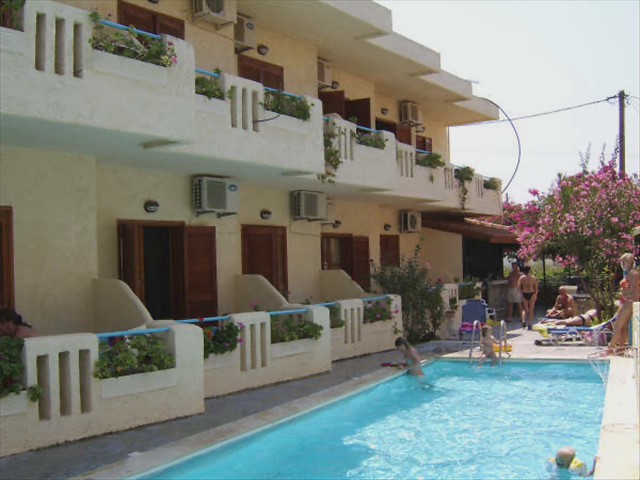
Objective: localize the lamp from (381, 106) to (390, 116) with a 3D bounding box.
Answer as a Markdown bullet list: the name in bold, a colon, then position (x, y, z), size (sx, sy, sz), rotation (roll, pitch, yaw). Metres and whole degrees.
- **lamp**: position (2.199, -4.342, 23.453), size (0.103, 0.317, 0.542), rotation (10, 11, 39)

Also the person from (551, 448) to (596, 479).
- **person**: position (4.085, 3.551, 11.125), size (0.673, 0.405, 0.436), rotation (1, -5, 29)

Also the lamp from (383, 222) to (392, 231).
- **lamp**: position (2.278, -0.430, 23.382), size (0.060, 0.289, 0.267), rotation (4, -1, 43)

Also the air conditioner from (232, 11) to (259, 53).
- **air conditioner**: position (-1.819, -5.135, 17.331), size (0.681, 0.729, 0.475), rotation (11, 8, 19)

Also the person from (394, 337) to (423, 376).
- **person**: position (2.023, 2.667, 15.663), size (0.472, 1.056, 0.469), rotation (-20, 16, -1)

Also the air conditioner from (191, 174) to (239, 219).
- **air conditioner**: position (-2.496, -1.008, 16.744), size (0.618, 1.010, 1.127), rotation (-9, -9, 38)

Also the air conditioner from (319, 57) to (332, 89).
- **air conditioner**: position (0.146, -4.834, 20.195), size (0.326, 0.857, 1.078), rotation (6, 9, 17)

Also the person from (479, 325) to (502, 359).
- **person**: position (4.037, 2.434, 16.542), size (0.486, 0.813, 0.915), rotation (5, 9, 14)

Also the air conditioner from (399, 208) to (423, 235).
- **air conditioner**: position (3.229, -0.526, 24.215), size (0.592, 1.048, 1.119), rotation (-2, -4, 34)

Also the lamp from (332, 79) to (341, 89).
- **lamp**: position (0.477, -4.639, 20.750), size (0.233, 0.280, 0.214), rotation (6, -3, -8)

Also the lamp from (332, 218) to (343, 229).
- **lamp**: position (0.509, -0.464, 21.220), size (0.154, 0.302, 0.625), rotation (7, 10, 24)

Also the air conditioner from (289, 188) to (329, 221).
- **air conditioner**: position (-0.300, -0.930, 19.321), size (0.389, 0.862, 1.142), rotation (-5, -5, 43)

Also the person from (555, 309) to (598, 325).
- **person**: position (7.245, 2.175, 19.070), size (0.865, 0.268, 0.517), rotation (-10, 10, -11)

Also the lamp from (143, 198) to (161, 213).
- **lamp**: position (-3.824, -0.747, 15.899), size (0.410, 0.333, 0.173), rotation (-4, 12, -40)

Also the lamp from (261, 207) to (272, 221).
- **lamp**: position (-1.446, -0.669, 18.505), size (0.267, 0.301, 0.066), rotation (1, 12, -20)

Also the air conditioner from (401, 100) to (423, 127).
- **air conditioner**: position (3.147, -4.387, 24.010), size (0.509, 0.829, 0.912), rotation (-6, -7, 35)

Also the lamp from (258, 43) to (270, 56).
- **lamp**: position (-1.444, -4.939, 18.083), size (0.189, 0.288, 0.429), rotation (9, 11, 34)
